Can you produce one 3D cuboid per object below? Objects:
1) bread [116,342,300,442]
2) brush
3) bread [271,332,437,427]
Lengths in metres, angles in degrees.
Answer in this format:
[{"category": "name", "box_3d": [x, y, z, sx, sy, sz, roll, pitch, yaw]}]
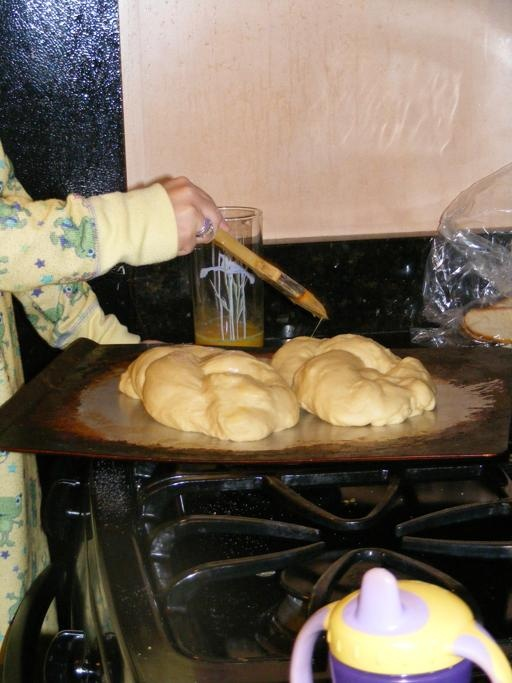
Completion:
[{"category": "bread", "box_3d": [-0.060, 0.035, 0.762, 0.125, 0.040, 0.162, -14, 27, -41]}, {"category": "brush", "box_3d": [0.026, -0.115, 1.085, 0.230, 0.031, 0.060, 37, -8, -14]}, {"category": "bread", "box_3d": [0.130, 0.036, 0.839, 0.178, 0.053, 0.233, -8, 21, -23]}]
